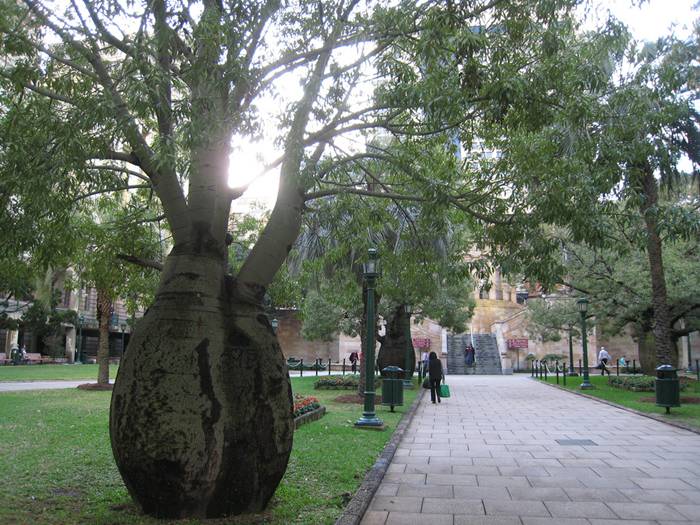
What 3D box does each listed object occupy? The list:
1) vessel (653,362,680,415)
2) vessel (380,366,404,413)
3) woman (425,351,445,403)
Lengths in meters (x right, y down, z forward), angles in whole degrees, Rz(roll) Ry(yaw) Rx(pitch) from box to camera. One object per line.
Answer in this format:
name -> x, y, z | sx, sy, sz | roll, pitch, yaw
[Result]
vessel -> 8.791, 3.499, 14.439 | 0.598, 1.283, 0.636 | -6, -11, 30
vessel -> 1.208, 3.618, 14.845 | 0.683, 1.179, 0.647 | 8, -9, -39
woman -> 2.882, 3.872, 17.551 | 0.497, 1.716, 1.985 | -2, -10, 8
